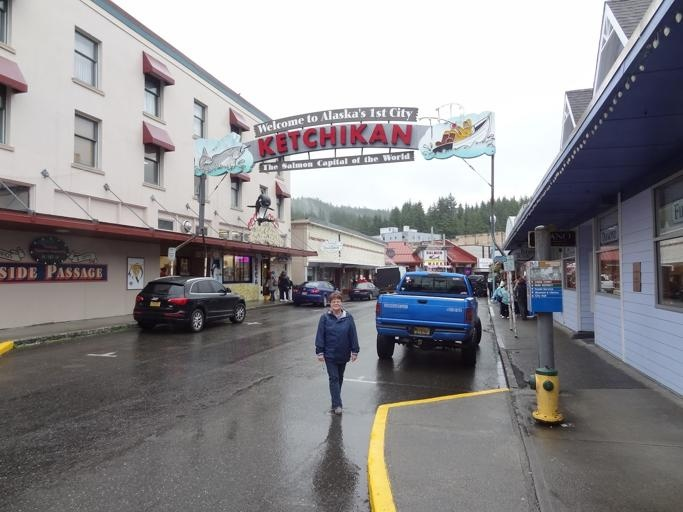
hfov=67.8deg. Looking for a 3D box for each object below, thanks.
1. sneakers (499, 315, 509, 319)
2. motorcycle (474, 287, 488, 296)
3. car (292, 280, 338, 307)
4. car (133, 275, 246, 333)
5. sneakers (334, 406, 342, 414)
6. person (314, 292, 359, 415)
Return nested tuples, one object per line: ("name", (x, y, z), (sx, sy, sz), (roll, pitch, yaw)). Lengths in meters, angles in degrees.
("sneakers", (6.799, 2.483, 21.103), (0.290, 0.153, 0.120), (-1, 3, -27))
("motorcycle", (10.656, 2.652, 38.847), (0.895, 0.456, 1.721), (-1, -1, 39))
("car", (-1.254, 2.100, 29.575), (1.199, 1.029, 2.882), (-1, -2, 20))
("car", (-5.008, 1.494, 17.193), (1.576, 1.388, 3.458), (-1, -1, 23))
("sneakers", (-0.059, 2.532, 8.402), (0.126, 0.094, 0.200), (0, 4, 2))
("person", (-0.067, 1.600, 8.702), (0.700, 1.912, 0.827), (0, 4, -1))
